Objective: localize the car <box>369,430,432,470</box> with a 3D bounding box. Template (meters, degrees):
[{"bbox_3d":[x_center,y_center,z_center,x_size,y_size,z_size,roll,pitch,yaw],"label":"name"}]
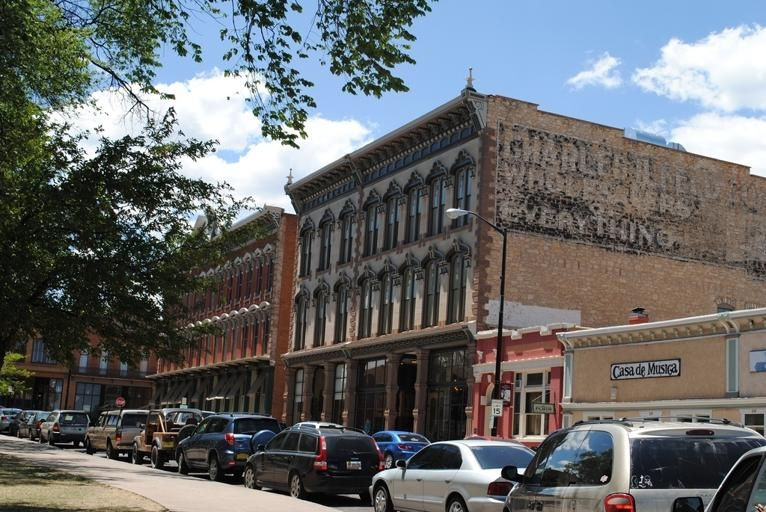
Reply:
[{"bbox_3d":[0.654,7.923,37.662,1.507,1.061,3.300,4,-8,-23],"label":"car"}]
